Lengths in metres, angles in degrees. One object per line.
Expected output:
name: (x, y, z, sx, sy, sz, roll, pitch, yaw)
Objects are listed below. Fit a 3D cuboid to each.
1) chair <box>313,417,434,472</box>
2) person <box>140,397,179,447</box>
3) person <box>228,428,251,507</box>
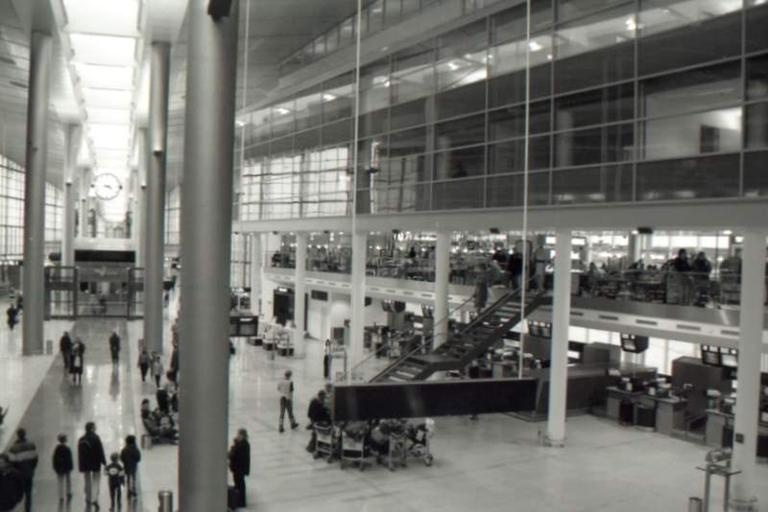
chair: (-0.351, 5.694, 21.237, 3.629, 1.393, 1.306, 4, 11, -7)
person: (-6.592, 5.149, 21.010, 0.896, 1.054, 2.995, 3, -4, -29)
person: (-3.750, 5.625, 18.235, 0.537, 2.110, 0.692, 1, 12, -21)
